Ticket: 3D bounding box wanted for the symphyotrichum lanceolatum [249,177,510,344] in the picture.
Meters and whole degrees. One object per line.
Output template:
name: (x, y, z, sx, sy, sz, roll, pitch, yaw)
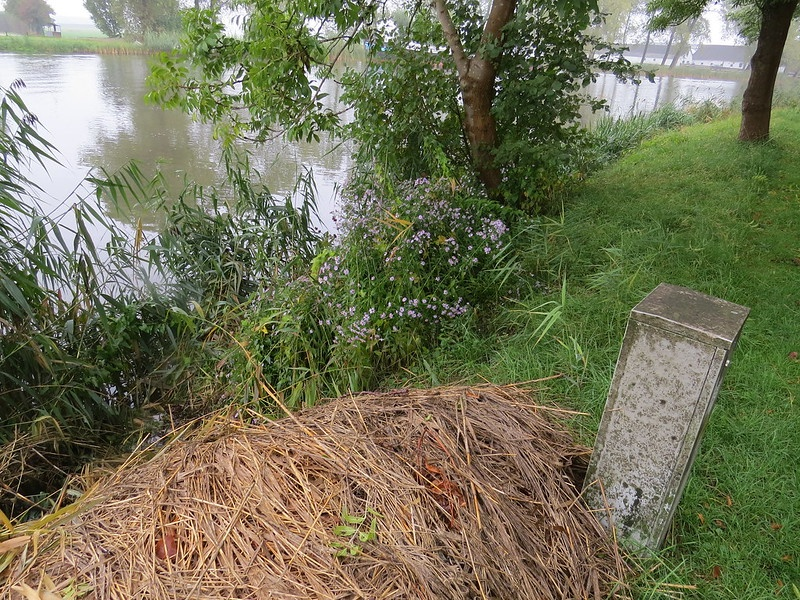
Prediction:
symphyotrichum lanceolatum: (0.064, -0.350, 4.684, 1.106, 0.915, 1.847, 16, 27, 29)
